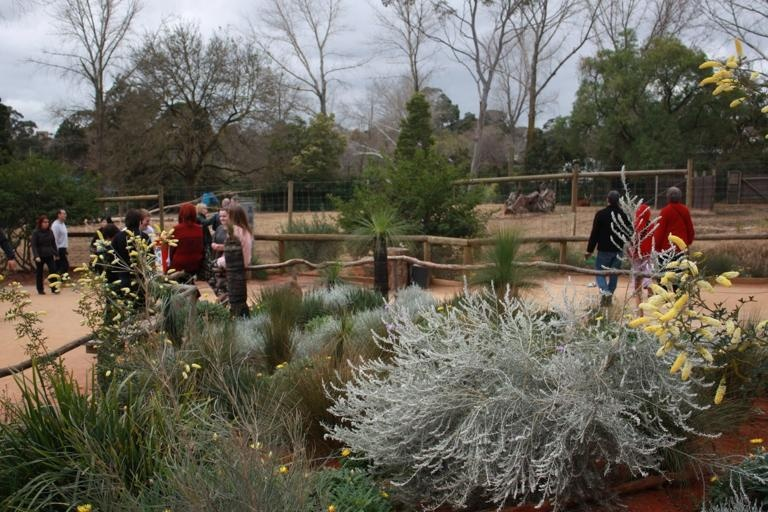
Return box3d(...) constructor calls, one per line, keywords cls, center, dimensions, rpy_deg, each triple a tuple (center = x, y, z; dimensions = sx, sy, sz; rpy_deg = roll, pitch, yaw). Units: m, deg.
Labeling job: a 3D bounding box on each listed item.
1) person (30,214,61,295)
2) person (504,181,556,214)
box3d(cls="person", center=(-7.105, -0.047, 14.726), dimensions=(0.437, 1.607, 0.903), rpy_deg=(-6, 9, -22))
box3d(cls="person", center=(5.281, -1.974, 26.118), dimensions=(1.577, 0.859, 1.186), rpy_deg=(-14, 6, -36))
